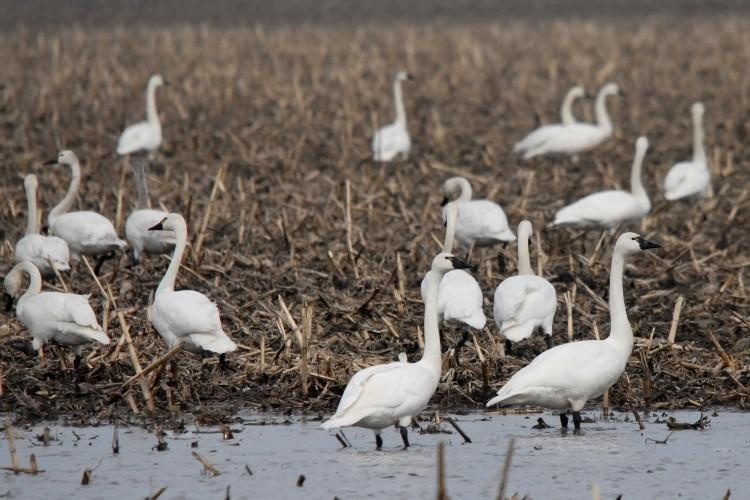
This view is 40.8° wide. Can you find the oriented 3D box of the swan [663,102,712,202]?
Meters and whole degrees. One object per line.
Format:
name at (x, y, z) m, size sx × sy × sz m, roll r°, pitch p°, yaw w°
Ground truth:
swan at (6.130, -1.864, 18.681) m, size 0.809 × 1.617 × 3.711 m, roll 3°, pitch 13°, yaw 19°
